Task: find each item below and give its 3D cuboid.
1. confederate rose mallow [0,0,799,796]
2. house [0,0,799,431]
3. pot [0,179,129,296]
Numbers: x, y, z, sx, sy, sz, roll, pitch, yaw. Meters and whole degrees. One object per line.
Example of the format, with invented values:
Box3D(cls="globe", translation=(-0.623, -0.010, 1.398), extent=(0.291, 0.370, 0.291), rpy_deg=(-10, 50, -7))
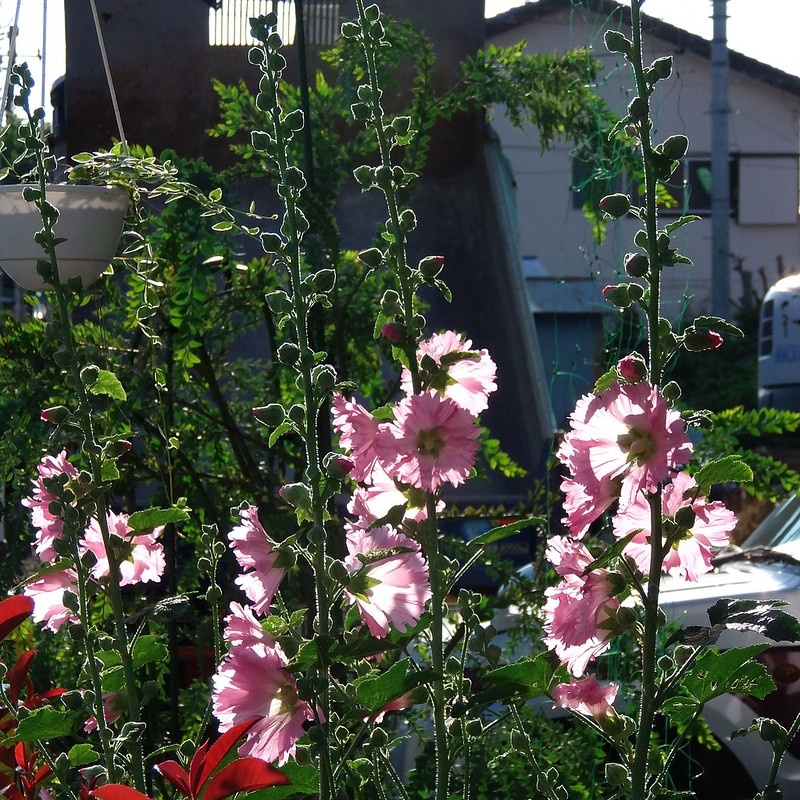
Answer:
Box3D(cls="confederate rose mallow", translation=(0.029, 0.012, 4.004), extent=(1.363, 1.542, 0.432), rpy_deg=(-3, 3, 5))
Box3D(cls="house", translation=(-0.071, -0.472, 5.327), extent=(1.214, 1.313, 2.347), rpy_deg=(-9, 10, 1))
Box3D(cls="pot", translation=(-0.722, -0.357, 4.549), extent=(0.227, 0.158, 0.232), rpy_deg=(0, -3, 0))
